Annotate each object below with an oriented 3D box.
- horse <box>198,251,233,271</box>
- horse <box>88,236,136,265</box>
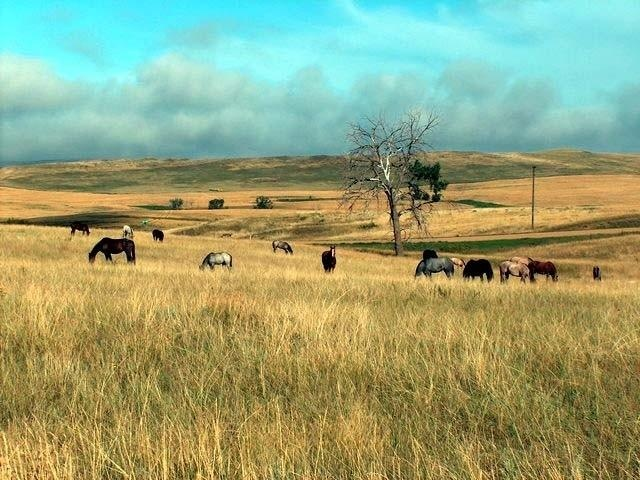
[{"bbox_3d":[-3.356,0.706,24.778,0.939,0.495,1.788,1,0,-10],"label":"horse"},{"bbox_3d":[-6.393,0.345,23.477,1.300,0.725,1.157,1,0,-19],"label":"horse"}]
